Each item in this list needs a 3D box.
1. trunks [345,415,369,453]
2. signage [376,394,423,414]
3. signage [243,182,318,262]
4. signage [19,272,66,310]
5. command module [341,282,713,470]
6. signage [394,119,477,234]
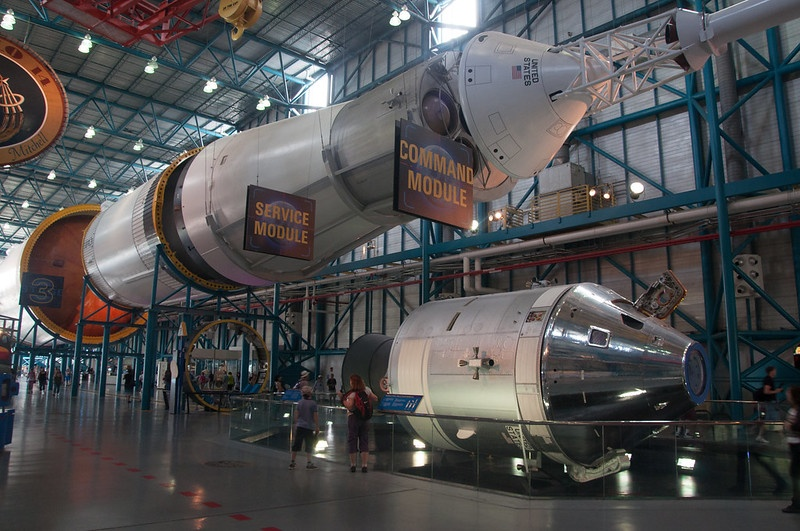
[{"bbox_3d":[-1.035,4.153,16.678,0.456,0.884,0.298,0,-2,-25],"label":"trunks"},{"bbox_3d":[0.019,3.347,16.508,1.215,0.353,0.428,0,9,27],"label":"signage"},{"bbox_3d":[-3.249,-1.274,18.609,2.186,1.814,0.224,7,4,-16],"label":"signage"},{"bbox_3d":[-18.068,1.252,34.208,2.017,1.640,0.226,8,-11,-38],"label":"signage"},{"bbox_3d":[2.741,2.402,16.393,7.196,3.233,3.949,1,-4,35],"label":"command module"},{"bbox_3d":[0.850,-2.273,16.205,2.713,1.923,0.352,7,-6,-34],"label":"signage"}]
